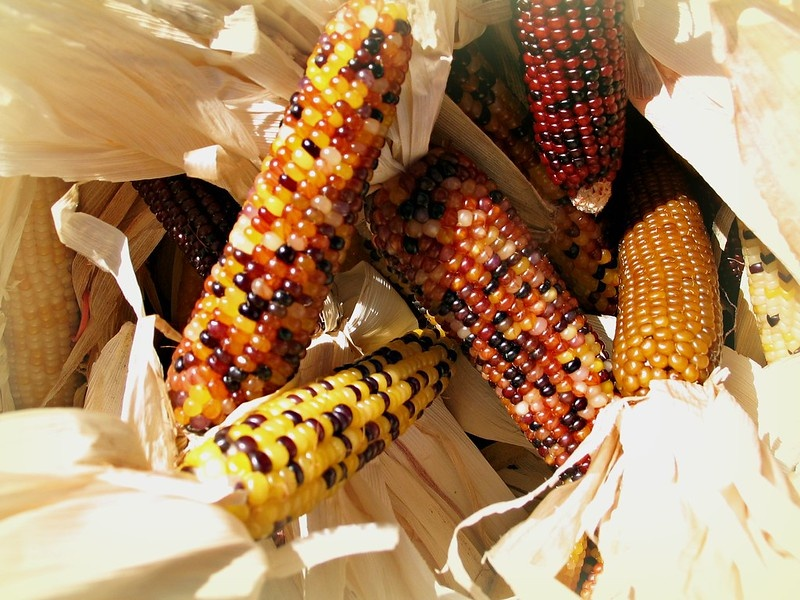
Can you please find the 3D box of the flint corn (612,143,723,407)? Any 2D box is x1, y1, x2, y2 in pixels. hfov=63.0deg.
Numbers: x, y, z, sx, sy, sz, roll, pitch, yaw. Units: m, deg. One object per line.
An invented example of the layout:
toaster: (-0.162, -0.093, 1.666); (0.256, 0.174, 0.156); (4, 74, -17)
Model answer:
flint corn: (0.649, -0.083, 1.629); (0.210, 0.188, 0.756); (20, 67, -30)

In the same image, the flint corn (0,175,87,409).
flint corn: (-0.936, 0.021, 1.745); (0.183, 0.165, 0.665); (23, 112, 46)
